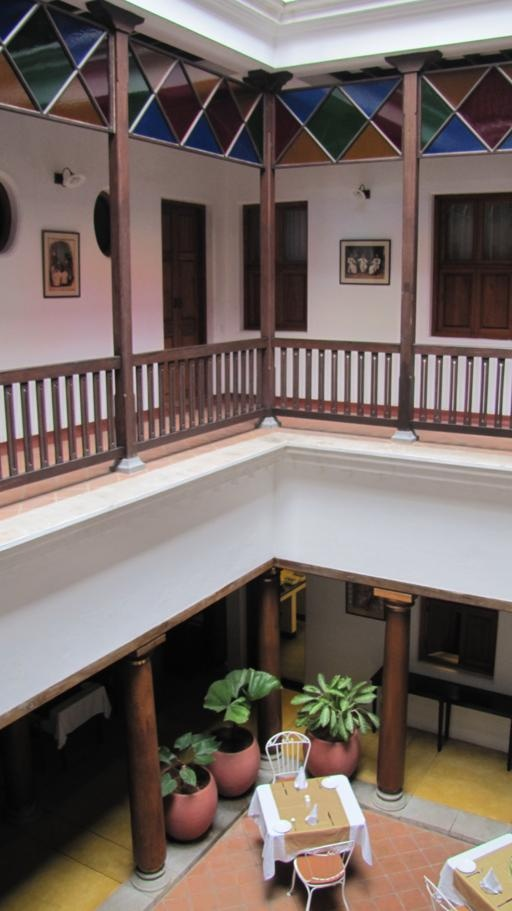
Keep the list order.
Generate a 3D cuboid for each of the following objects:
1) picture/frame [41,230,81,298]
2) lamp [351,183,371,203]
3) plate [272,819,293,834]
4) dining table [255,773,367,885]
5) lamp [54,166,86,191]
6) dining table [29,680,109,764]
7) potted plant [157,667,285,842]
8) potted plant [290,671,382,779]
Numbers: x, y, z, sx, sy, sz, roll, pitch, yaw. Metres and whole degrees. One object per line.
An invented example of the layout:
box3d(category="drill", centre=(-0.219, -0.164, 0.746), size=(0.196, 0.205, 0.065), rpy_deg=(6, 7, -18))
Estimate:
box3d(category="picture/frame", centre=(-2.027, -1.989, 5.999), size=(0.030, 0.745, 0.577), rpy_deg=(12, 19, 30))
box3d(category="lamp", centre=(1.344, -3.369, 7.558), size=(0.200, 0.249, 0.181), rpy_deg=(4, 3, -33))
box3d(category="plate", centre=(0.217, 3.072, 4.837), size=(0.143, 0.059, 0.193), rpy_deg=(8, 14, 5))
box3d(category="dining table", centre=(0.442, 3.113, 5.020), size=(0.927, 0.529, 0.989), rpy_deg=(-4, 12, -11))
box3d(category="lamp", centre=(-1.856, -2.791, 5.864), size=(0.247, 0.210, 0.318), rpy_deg=(15, 16, 35))
box3d(category="dining table", centre=(-2.439, 3.466, 7.618), size=(0.792, 1.064, 0.863), rpy_deg=(14, 15, 36))
box3d(category="potted plant", centre=(-0.535, 3.133, 6.380), size=(1.003, 1.594, 1.600), rpy_deg=(9, 16, 17))
box3d(category="potted plant", centre=(0.954, 3.192, 7.118), size=(1.063, 1.464, 1.238), rpy_deg=(1, -1, 8))
